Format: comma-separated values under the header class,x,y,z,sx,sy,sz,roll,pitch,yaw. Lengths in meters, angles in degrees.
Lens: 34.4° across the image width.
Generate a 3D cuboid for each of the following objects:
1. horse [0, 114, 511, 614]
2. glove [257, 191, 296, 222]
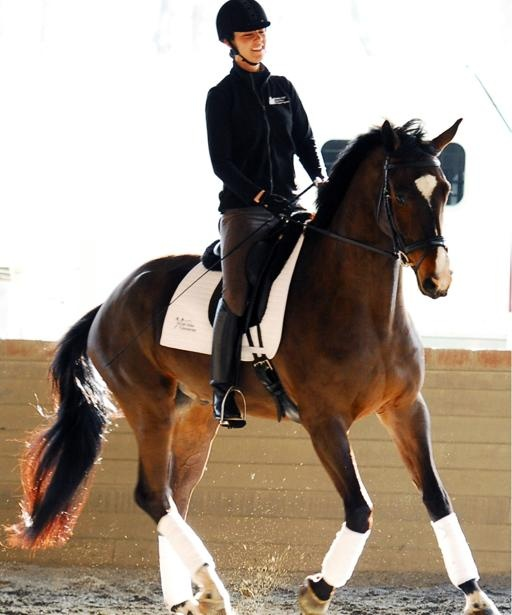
class,x,y,z,sx,sy,sz,roll,pitch,yaw
horse,0.000,0.189,2.133,1.330,1.290,0.413,6,12,31
glove,0.055,-0.262,2.102,0.095,0.032,0.066,22,-15,22
